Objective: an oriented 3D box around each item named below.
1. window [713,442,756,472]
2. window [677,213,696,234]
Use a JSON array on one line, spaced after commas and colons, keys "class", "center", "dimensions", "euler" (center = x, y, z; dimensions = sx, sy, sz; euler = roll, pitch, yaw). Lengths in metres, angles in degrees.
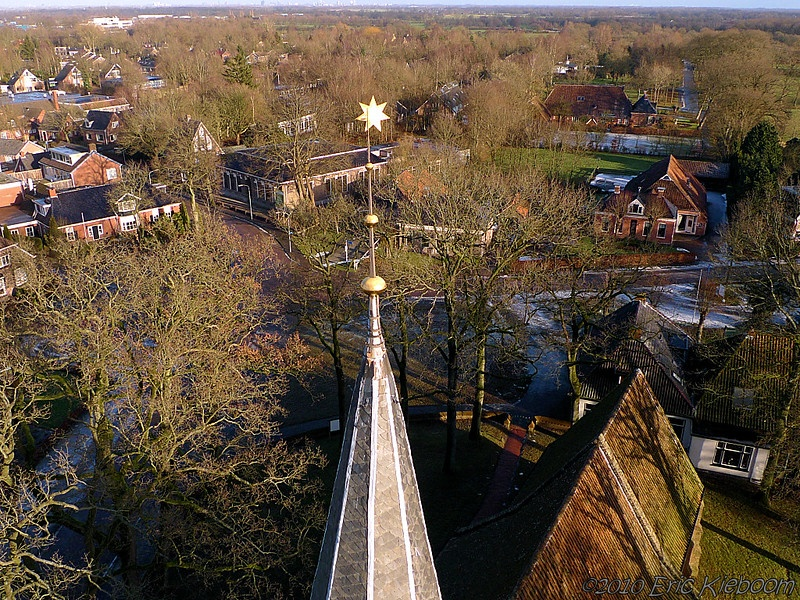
[{"class": "window", "center": [19.695, 9.115, 44.543], "dimensions": [1.512, 1.660, 0.116], "euler": [8, 18, 18]}, {"class": "window", "center": [29.580, -7.941, 78.019], "dimensions": [2.100, 2.397, 1.541], "euler": [9, 20, 33]}]
